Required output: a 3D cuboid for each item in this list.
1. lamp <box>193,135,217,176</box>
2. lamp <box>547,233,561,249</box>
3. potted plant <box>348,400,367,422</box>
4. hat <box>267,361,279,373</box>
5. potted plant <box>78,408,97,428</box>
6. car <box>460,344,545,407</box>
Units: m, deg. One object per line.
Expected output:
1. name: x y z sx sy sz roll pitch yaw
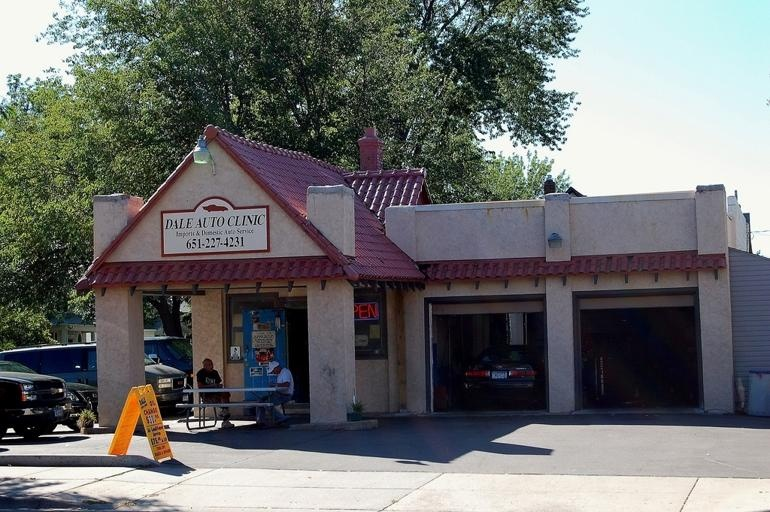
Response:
1. lamp: -5.207 -2.834 28.160 0.660 1.033 1.063 0 -8 -6
2. lamp: 5.135 -0.463 29.871 0.387 0.395 0.391 2 -7 -13
3. potted plant: -0.821 4.311 27.488 0.413 0.567 0.247 4 -12 -32
4. hat: -3.348 3.300 29.254 0.222 0.441 0.280 32 -22 -9
5. potted plant: -8.741 4.745 28.909 0.491 0.507 0.505 0 -15 -2
6. car: 3.753 3.825 31.377 2.500 1.962 1.722 -3 -10 6
